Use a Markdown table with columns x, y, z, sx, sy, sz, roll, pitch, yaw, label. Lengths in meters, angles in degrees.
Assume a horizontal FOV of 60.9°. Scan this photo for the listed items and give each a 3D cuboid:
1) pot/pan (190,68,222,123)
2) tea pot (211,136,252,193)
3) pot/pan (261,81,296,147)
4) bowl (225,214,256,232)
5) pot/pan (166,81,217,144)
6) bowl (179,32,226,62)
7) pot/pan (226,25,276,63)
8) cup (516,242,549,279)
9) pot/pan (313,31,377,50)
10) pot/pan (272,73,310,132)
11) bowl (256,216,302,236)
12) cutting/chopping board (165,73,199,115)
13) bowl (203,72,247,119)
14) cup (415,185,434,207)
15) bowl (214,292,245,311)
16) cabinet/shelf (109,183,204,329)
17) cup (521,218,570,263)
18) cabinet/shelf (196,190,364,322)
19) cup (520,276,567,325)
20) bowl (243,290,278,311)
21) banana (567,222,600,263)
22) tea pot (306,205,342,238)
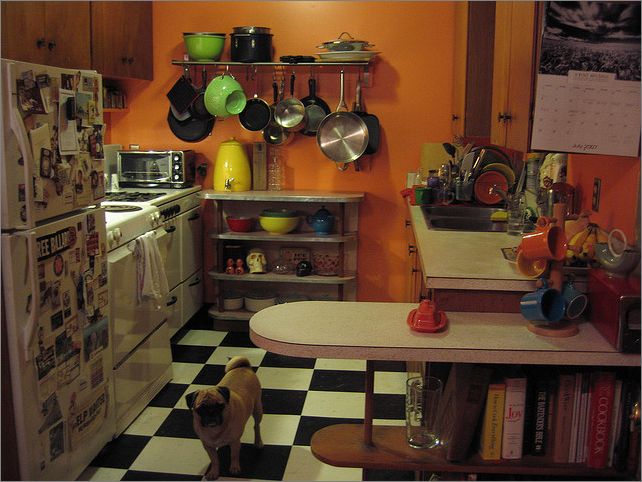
| x | y | z | sx | sy | sz | roll | pitch | yaw | label |
| --- | --- | --- | --- | --- | --- | --- | --- | --- | --- |
| -0.939 | -1.184 | 4.414 | 0.267 | 0.357 | 0.066 | 5 | 20 | 19 | pot/pan |
| -0.701 | -0.582 | 4.281 | 0.323 | 0.403 | 0.401 | 0 | 13 | -4 | tea pot |
| -0.369 | -1.000 | 4.324 | 0.264 | 0.461 | 0.072 | 3 | 17 | 17 | pot/pan |
| -0.642 | -0.142 | 4.370 | 0.208 | 0.138 | 0.301 | -1 | 15 | -4 | bowl |
| -1.060 | -1.039 | 4.416 | 0.324 | 0.469 | 0.087 | -10 | 14 | 17 | pot/pan |
| -0.897 | -1.479 | 4.145 | 0.269 | 0.161 | 0.259 | 0 | 10 | 0 | bowl |
| -0.524 | -1.485 | 4.121 | 0.308 | 0.214 | 0.321 | 4 | 19 | 8 | pot/pan |
| 0.794 | 0.070 | 2.030 | 0.094 | 0.114 | 0.094 | 3 | 11 | -1 | cup |
| 0.180 | -1.518 | 4.147 | 0.434 | 0.169 | 0.344 | 1 | 15 | 4 | pot/pan |
| -0.252 | -1.051 | 4.227 | 0.248 | 0.430 | 0.138 | -2 | 5 | 6 | pot/pan |
| -0.333 | -0.125 | 4.281 | 0.293 | 0.163 | 0.193 | -1 | 15 | -5 | bowl |
| -1.095 | -1.144 | 4.282 | 0.270 | 0.277 | 0.066 | -44 | -10 | 27 | cutting/chopping board |
| -0.732 | -1.087 | 4.084 | 0.288 | 0.325 | 0.122 | -3 | 4 | -4 | bowl |
| 0.694 | -0.306 | 3.758 | 0.129 | 0.108 | 0.130 | -1 | 3 | 0 | cup |
| -0.720 | 0.483 | 4.304 | 0.164 | 0.094 | 0.160 | 1 | 2 | 0 | bowl |
| -1.059 | 0.080 | 3.462 | 0.458 | 0.839 | 0.931 | -1 | 22 | 1 | cabinet/shelf |
| 0.793 | 0.005 | 1.947 | 0.113 | 0.174 | 0.122 | 20 | -1 | 0 | cup |
| -0.254 | 0.137 | 4.356 | 1.031 | 0.798 | 0.337 | 2 | 8 | 3 | cabinet/shelf |
| 0.783 | 0.214 | 1.930 | 0.121 | 0.184 | 0.128 | 4 | 0 | 0 | cup |
| -0.484 | 0.465 | 4.312 | 0.238 | 0.107 | 0.229 | 0 | 6 | 0 | bowl |
| 1.067 | -0.015 | 2.172 | 0.085 | 0.036 | 0.158 | -11 | 23 | 40 | banana |
| 0.008 | -0.161 | 4.357 | 0.260 | 0.209 | 0.251 | 0 | 15 | 0 | tea pot |
